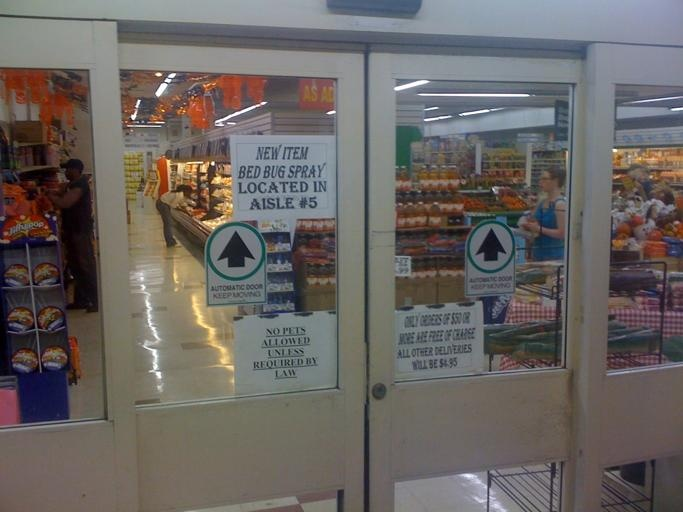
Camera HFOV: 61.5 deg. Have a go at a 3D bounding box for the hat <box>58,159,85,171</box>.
[{"bbox_3d":[-1.177,-0.403,2.519,0.068,0.039,0.048,15,8,-10],"label":"hat"}]

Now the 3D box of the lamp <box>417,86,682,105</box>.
[{"bbox_3d":[1.088,-0.839,3.017,1.422,0.086,0.065,-4,7,-8],"label":"lamp"}]
